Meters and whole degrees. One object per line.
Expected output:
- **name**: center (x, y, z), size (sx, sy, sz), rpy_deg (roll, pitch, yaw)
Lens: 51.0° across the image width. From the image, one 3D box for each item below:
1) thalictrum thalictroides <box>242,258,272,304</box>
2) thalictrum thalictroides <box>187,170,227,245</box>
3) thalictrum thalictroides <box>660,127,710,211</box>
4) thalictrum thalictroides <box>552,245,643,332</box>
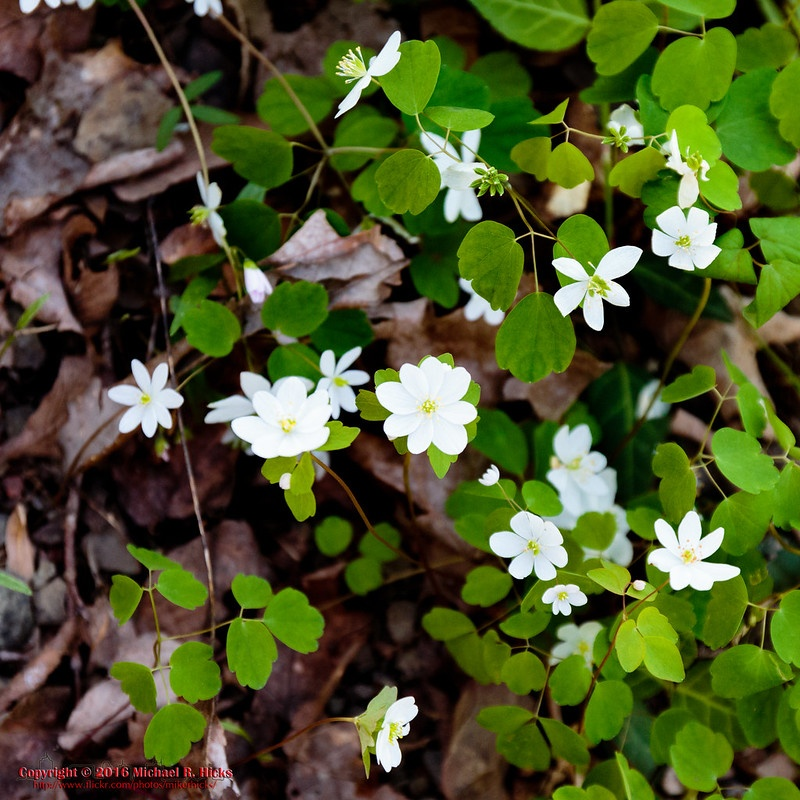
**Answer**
- **thalictrum thalictroides**: center (-0.382, -0.306, 2.284), size (0.070, 0.117, 0.129), rpy_deg (-10, 66, -12)
- **thalictrum thalictroides**: center (-0.543, -0.544, 2.390), size (0.104, 0.179, 0.178), rpy_deg (-20, 64, -21)
- **thalictrum thalictroides**: center (0.698, -0.553, 2.111), size (0.153, 0.087, 0.168), rpy_deg (6, 74, -30)
- **thalictrum thalictroides**: center (0.481, -0.277, 2.026), size (0.195, 0.207, 0.087), rpy_deg (-7, 17, 21)
